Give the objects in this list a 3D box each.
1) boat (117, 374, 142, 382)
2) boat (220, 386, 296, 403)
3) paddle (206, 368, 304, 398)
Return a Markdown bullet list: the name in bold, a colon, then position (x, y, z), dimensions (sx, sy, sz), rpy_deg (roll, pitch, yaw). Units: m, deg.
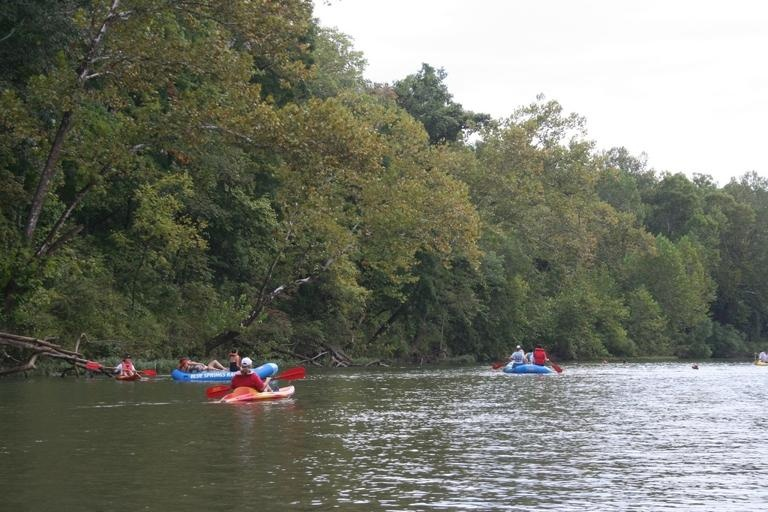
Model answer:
- **boat**: position (-13.683, 6.637, 71.360), dimensions (0.758, 0.289, 0.572), rpy_deg (1, -9, 13)
- **boat**: position (-5.946, 6.809, 63.718), dimensions (3.573, 0.731, 1.142), rpy_deg (1, 0, -36)
- **paddle**: position (-5.560, 5.777, 67.742), dimensions (1.057, 1.137, 5.412), rpy_deg (2, 7, 21)
